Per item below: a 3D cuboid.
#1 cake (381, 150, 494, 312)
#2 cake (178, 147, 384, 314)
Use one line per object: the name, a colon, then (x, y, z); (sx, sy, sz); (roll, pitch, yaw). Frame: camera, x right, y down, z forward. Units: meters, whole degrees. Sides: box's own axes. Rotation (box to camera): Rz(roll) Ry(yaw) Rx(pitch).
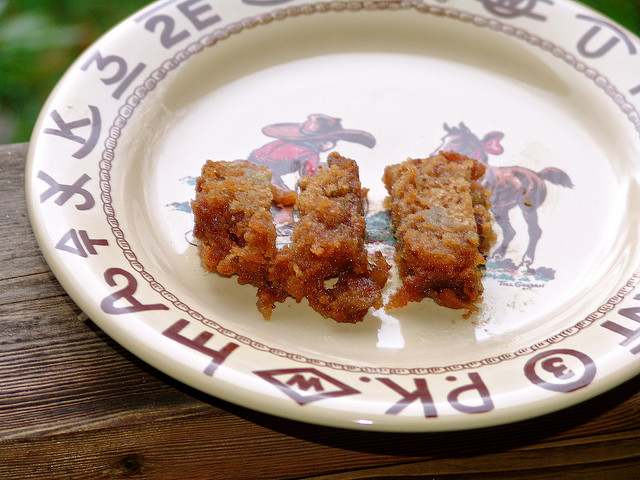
cake: (0.356, -0.068, 2.018); (0.401, 0.148, 0.480); (5, 55, 1)
cake: (-0.109, -0.029, 2.006); (0.684, 0.170, 0.564); (-1, 48, -35)
